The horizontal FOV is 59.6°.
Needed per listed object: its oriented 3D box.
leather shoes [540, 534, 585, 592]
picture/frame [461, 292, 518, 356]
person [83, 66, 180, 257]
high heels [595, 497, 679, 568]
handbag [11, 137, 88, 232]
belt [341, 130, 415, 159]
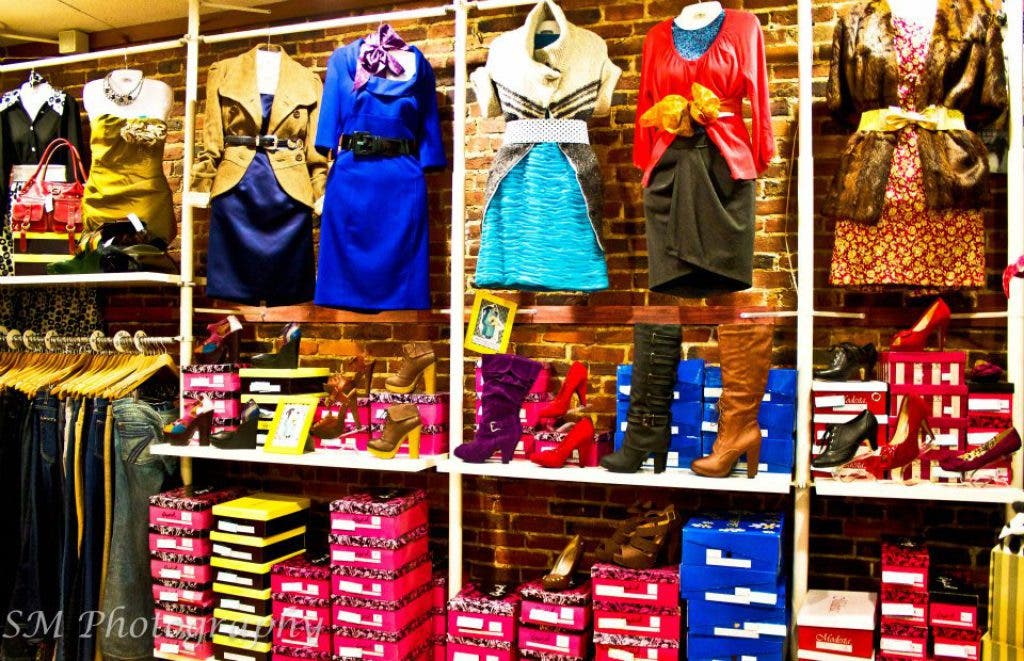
[{"bbox_3d":[0.248,1.161,4.444,0.110,0.132,0.326,-18,15,38],"label":"leather shoes"},{"bbox_3d":[-0.118,-0.027,4.599,0.320,0.389,0.032,10,-2,-7],"label":"picture/frame"},{"bbox_3d":[-2.189,-0.982,5.039,0.503,1.044,0.315,-1,2,-17],"label":"person"},{"bbox_3d":[0.635,0.980,4.324,0.423,0.178,0.241,-6,-2,-38],"label":"high heels"},{"bbox_3d":[-2.654,-0.793,5.077,0.452,0.506,0.557,1,3,-10],"label":"handbag"},{"bbox_3d":[-0.704,-0.983,4.734,0.344,0.131,0.060,0,1,-3],"label":"belt"}]
